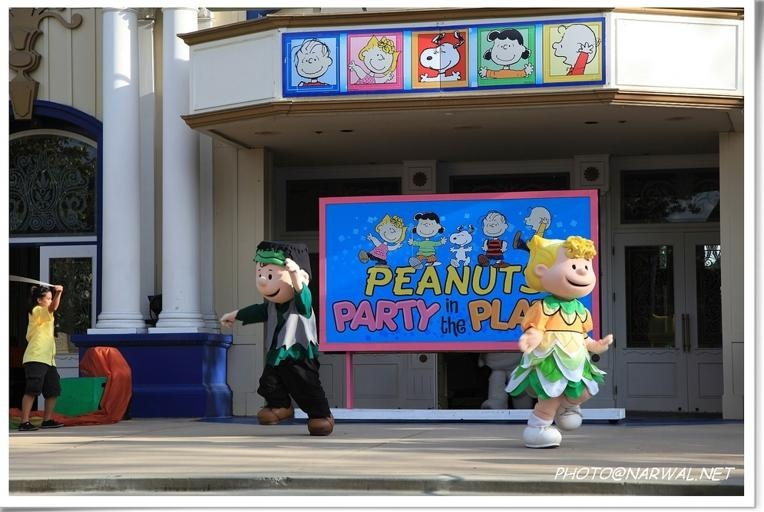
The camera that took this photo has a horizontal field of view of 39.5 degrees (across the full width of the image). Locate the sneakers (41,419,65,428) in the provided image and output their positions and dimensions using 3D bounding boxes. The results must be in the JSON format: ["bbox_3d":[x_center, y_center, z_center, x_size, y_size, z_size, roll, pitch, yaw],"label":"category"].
[{"bbox_3d":[-4.986,2.555,16.215,0.294,0.107,0.102,2,-5,-16],"label":"sneakers"}]

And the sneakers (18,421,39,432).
[{"bbox_3d":[-5.268,2.542,15.926,0.283,0.111,0.119,2,-5,-3],"label":"sneakers"}]
